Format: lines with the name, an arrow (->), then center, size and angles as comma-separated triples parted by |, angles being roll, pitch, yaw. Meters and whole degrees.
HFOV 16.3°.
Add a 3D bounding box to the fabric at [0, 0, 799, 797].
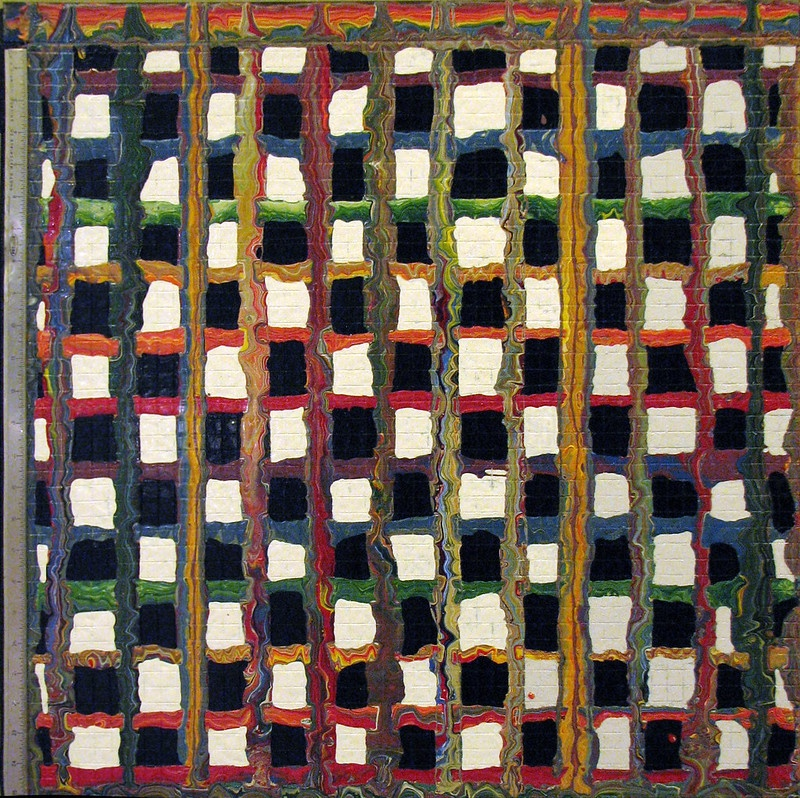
fabric -> 0.027, -0.009, 5.254 | 1.576, 0.191, 1.570 | -5, 83, 0
